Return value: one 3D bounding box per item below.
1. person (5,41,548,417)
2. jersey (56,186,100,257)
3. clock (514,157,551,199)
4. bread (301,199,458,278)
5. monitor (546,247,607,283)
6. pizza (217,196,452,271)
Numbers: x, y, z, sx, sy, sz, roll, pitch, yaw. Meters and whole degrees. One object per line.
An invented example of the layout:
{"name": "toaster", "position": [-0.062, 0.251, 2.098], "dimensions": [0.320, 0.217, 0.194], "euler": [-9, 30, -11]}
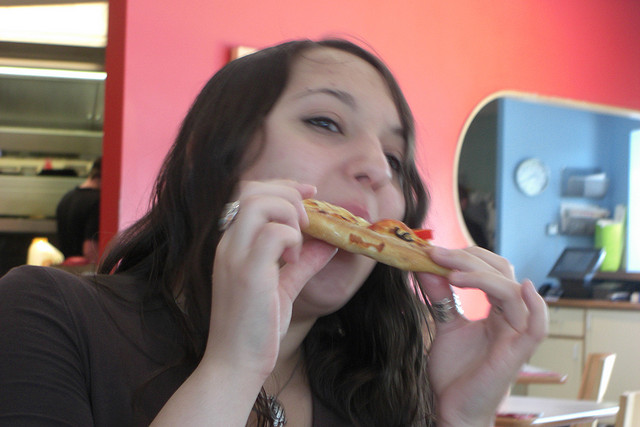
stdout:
{"name": "person", "position": [-0.136, 0.043, 2.272], "dimensions": [1.830, 1.263, 0.698], "euler": [4, 1, -21]}
{"name": "jersey", "position": [-1.625, 0.066, 4.164], "dimensions": [0.207, 0.493, 0.434], "euler": [-3, 10, -34]}
{"name": "clock", "position": [1.900, -0.305, 5.487], "dimensions": [0.359, 0.359, 0.080], "euler": [7, -2, -33]}
{"name": "bread", "position": [0.217, 0.119, 2.290], "dimensions": [0.663, 0.182, 0.195], "euler": [23, 12, -14]}
{"name": "monitor", "position": [2.171, 0.426, 5.178], "dimensions": [0.405, 0.309, 0.318], "euler": [4, 0, 24]}
{"name": "pizza", "position": [0.022, 0.077, 2.173], "dimensions": [0.539, 0.099, 0.123], "euler": [19, 7, -4]}
